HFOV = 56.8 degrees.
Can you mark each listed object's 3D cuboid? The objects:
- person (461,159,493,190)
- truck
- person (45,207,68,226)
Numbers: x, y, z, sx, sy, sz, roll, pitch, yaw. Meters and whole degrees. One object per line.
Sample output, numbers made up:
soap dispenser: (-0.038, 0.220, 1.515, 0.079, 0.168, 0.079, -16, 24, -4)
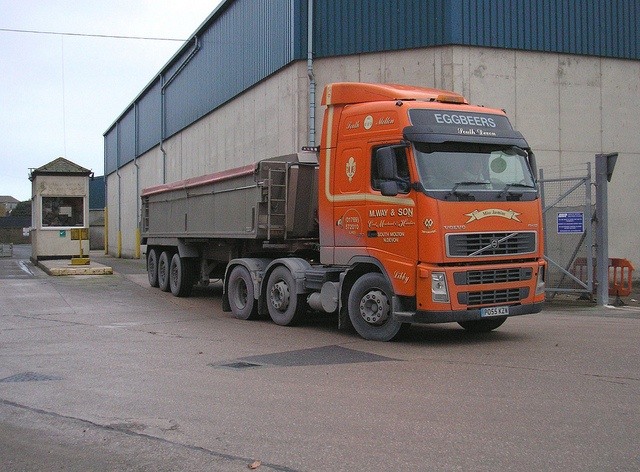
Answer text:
person: (2.561, -1.041, 9.799, 0.681, 0.544, 0.208, -1, 2, -27)
truck: (0.003, -0.438, 14.388, 3.522, 5.309, 10.932, 0, -1, -37)
person: (-12.843, -0.930, 28.807, 1.236, 0.833, 0.925, 0, 10, -4)
